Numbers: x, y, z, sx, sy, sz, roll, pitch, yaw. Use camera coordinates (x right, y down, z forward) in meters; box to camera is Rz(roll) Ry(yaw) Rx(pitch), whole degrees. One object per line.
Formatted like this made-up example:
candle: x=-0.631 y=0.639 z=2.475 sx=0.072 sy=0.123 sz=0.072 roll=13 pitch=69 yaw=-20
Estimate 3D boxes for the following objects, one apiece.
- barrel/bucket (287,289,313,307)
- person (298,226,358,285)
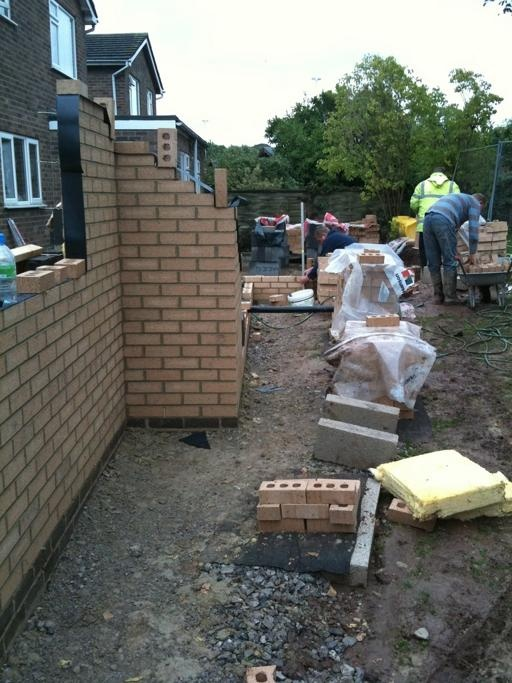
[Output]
barrel/bucket: x=0.794 y=-0.785 z=10.256 sx=0.424 sy=0.285 sz=0.324 roll=-9 pitch=25 yaw=11
person: x=1.341 y=-1.581 z=10.923 sx=0.882 sy=1.042 sz=1.484 roll=-2 pitch=13 yaw=-2
